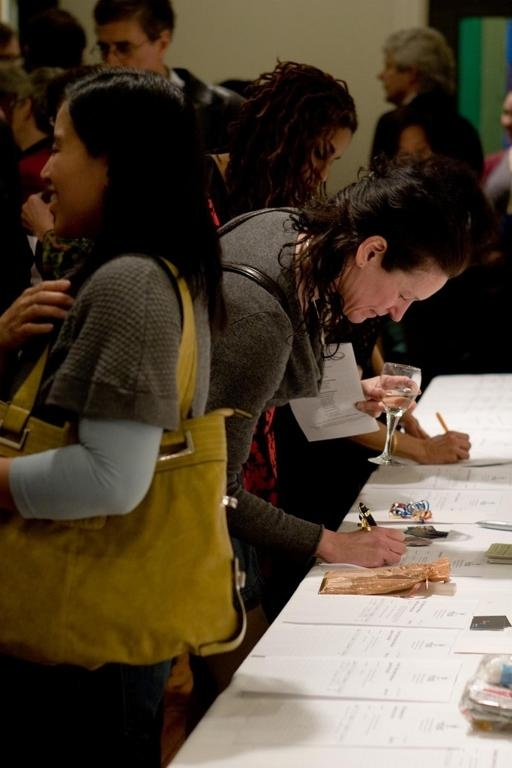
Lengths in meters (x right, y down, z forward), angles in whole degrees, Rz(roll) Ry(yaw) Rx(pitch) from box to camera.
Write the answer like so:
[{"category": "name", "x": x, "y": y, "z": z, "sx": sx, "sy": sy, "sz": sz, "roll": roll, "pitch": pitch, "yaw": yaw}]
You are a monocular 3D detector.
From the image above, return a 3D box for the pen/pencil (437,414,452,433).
[{"category": "pen/pencil", "x": 0.650, "y": 0.135, "z": 2.209, "sx": 0.013, "sy": 0.095, "sz": 0.020, "roll": -34, "pitch": 24, "yaw": 24}]
